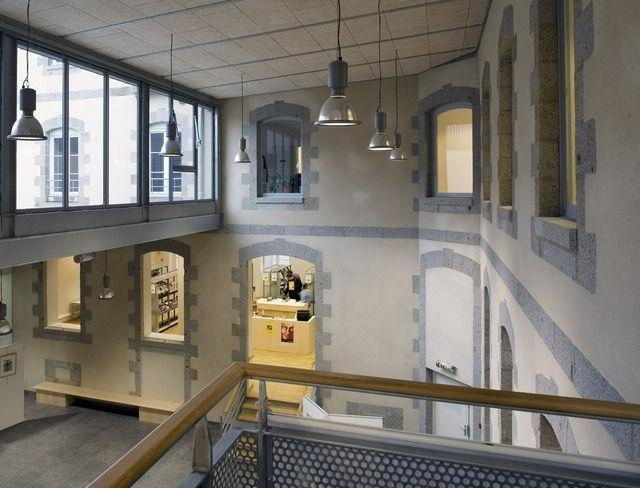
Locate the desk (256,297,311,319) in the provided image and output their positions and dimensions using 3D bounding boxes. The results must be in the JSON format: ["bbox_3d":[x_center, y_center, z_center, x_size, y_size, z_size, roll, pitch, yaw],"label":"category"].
[{"bbox_3d":[-0.980,1.640,14.262,1.446,0.515,0.544,-3,-9,31],"label":"desk"}]

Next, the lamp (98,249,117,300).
[{"bbox_3d":[-4.708,0.650,12.432,0.356,1.135,1.894,5,-8,-21],"label":"lamp"}]

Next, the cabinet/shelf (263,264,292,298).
[{"bbox_3d":[-1.127,1.014,15.072,0.583,1.189,0.782,-1,-5,16],"label":"cabinet/shelf"}]

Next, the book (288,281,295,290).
[{"bbox_3d":[-0.714,1.076,14.489,0.201,0.288,0.027,-3,-15,10],"label":"book"}]

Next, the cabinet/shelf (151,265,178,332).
[{"bbox_3d":[-4.063,1.434,14.640,0.512,1.719,2.142,2,-8,-7],"label":"cabinet/shelf"}]
